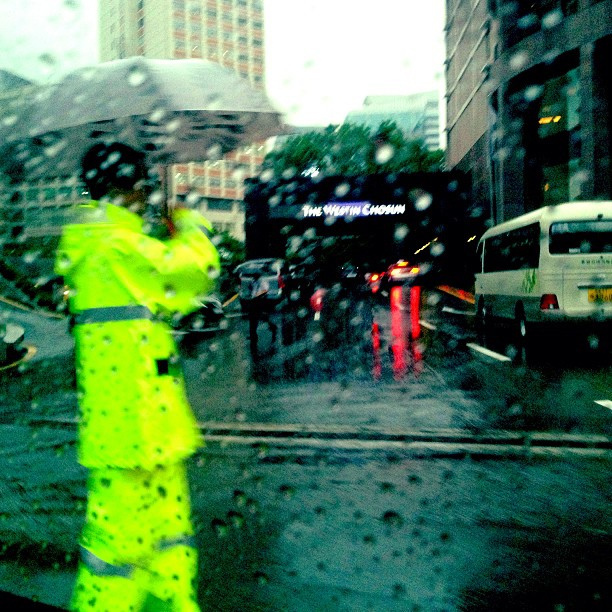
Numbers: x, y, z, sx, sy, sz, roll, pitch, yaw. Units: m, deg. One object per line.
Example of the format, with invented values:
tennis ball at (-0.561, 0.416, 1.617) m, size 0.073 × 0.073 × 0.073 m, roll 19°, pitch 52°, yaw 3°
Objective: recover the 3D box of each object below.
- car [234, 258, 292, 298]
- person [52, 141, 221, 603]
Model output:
car at (-1.140, -0.669, 21.771) m, size 1.534 × 0.994 × 2.536 m, roll -3°, pitch 6°, yaw -4°
person at (-0.658, 0.272, 3.241) m, size 0.649 × 1.832 × 0.313 m, roll -3°, pitch 5°, yaw -9°
